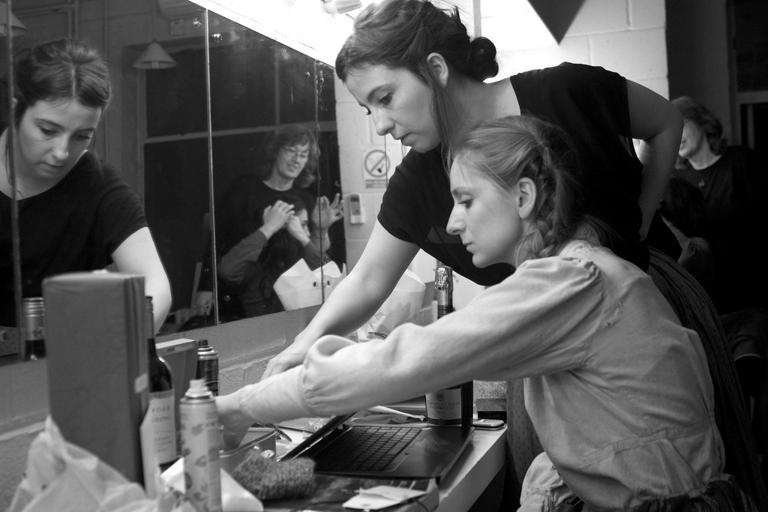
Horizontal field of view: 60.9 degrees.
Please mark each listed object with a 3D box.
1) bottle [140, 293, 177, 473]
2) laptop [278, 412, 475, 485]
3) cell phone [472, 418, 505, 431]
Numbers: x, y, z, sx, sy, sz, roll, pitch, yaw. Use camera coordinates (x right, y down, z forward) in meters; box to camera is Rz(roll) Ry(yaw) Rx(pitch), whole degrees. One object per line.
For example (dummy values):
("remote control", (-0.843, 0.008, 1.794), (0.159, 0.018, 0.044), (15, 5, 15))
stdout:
("bottle", (-0.413, 0.229, 1.217), (0.053, 0.308, 0.096), (-1, 4, -20))
("laptop", (-0.002, 0.450, 1.536), (0.373, 0.034, 0.358), (2, 4, 15))
("cell phone", (0.297, 0.469, 1.840), (0.087, 0.018, 0.094), (2, 4, 10))
